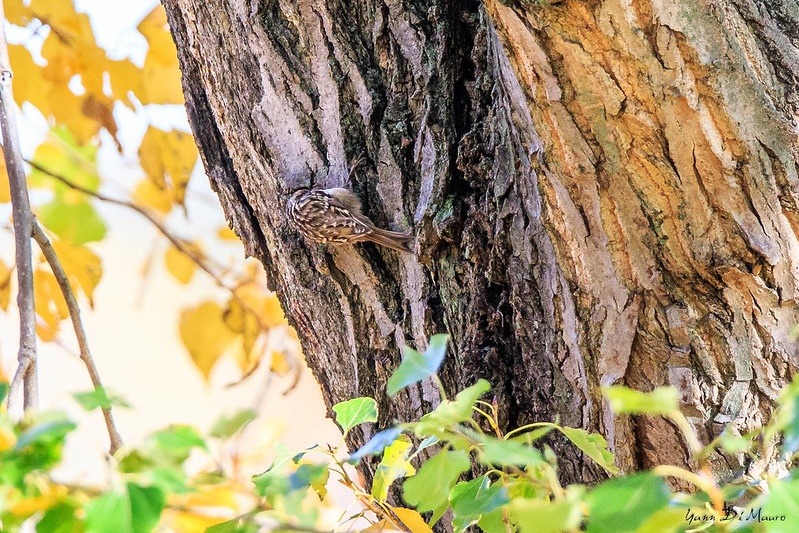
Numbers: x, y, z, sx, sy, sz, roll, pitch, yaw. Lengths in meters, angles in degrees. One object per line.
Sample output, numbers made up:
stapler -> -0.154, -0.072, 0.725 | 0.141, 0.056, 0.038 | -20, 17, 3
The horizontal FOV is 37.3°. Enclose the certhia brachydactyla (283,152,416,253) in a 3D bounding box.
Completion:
certhia brachydactyla -> -0.136, -0.122, 3.529 | 0.416, 0.199, 0.153 | -7, 15, 39
